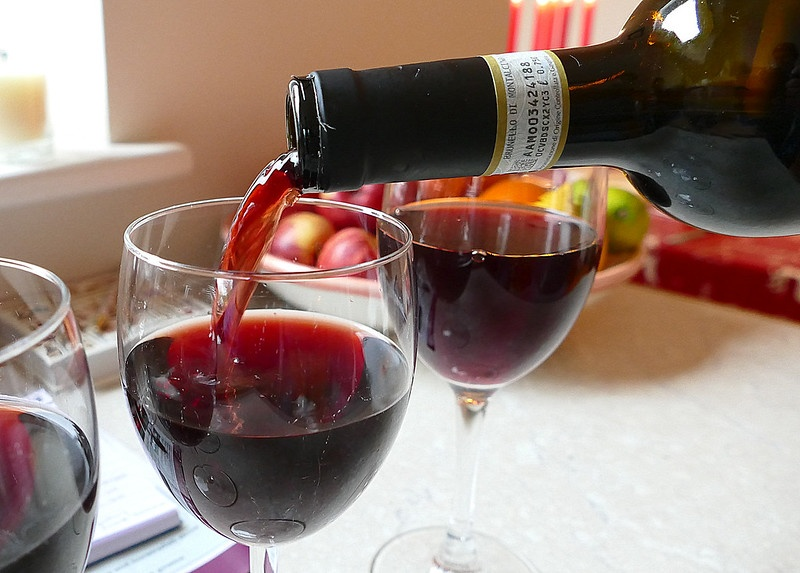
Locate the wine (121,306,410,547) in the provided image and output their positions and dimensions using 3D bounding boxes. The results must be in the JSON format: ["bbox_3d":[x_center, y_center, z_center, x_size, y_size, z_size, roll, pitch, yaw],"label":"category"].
[{"bbox_3d":[-0.082,0.109,0.478,0.212,0.150,0.210,-4,-12,-23],"label":"wine"}]

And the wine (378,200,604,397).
[{"bbox_3d":[0.086,-0.001,0.544,0.142,0.111,0.151,2,7,-1],"label":"wine"}]

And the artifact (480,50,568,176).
[{"bbox_3d":[0.086,-0.120,0.457,0.058,0.077,0.044,-6,32,-14],"label":"artifact"}]
